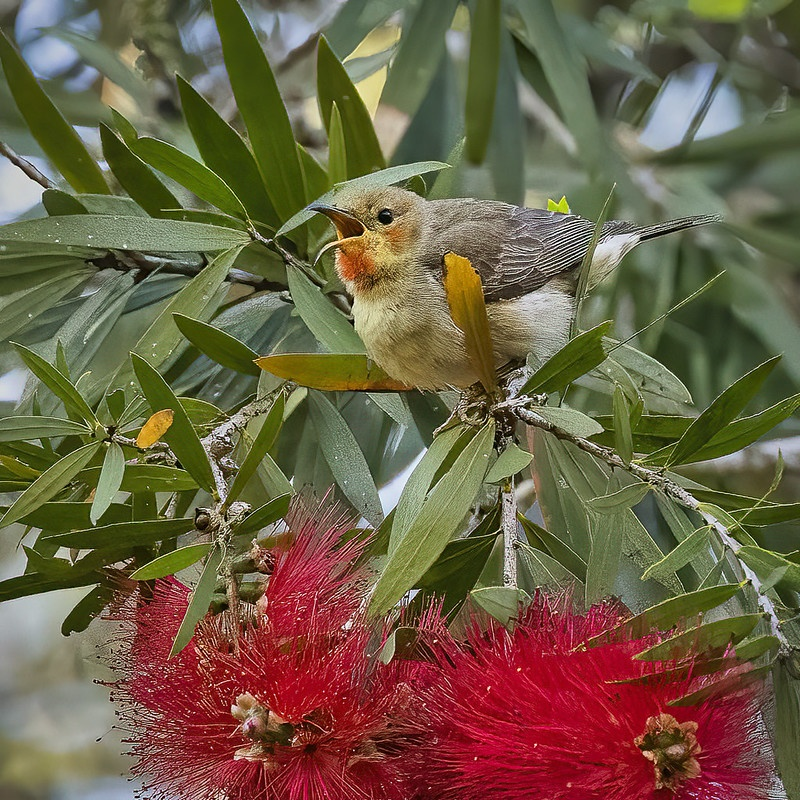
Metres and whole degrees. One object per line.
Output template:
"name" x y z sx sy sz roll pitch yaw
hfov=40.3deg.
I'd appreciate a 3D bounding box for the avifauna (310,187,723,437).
"avifauna" 0.203 -0.231 1.665 0.633 0.307 0.245 -22 16 -26
